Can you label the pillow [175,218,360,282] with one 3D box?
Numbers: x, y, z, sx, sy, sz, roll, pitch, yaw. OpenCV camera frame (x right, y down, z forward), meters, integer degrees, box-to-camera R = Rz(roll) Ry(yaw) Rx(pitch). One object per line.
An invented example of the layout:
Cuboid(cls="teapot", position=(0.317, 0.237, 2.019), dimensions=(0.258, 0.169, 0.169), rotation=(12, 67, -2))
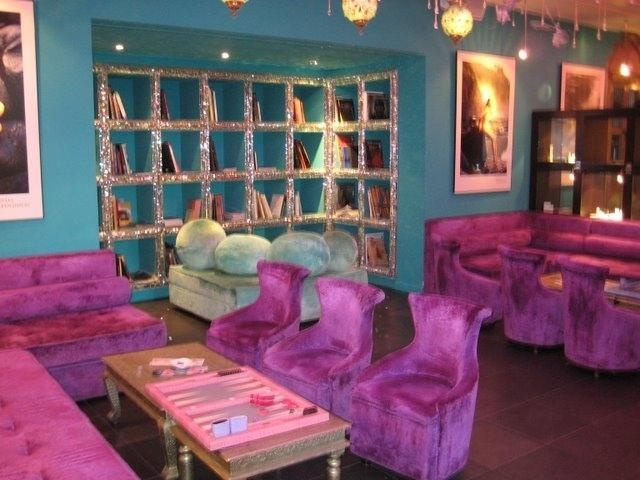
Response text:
Cuboid(cls="pillow", position=(-0.786, 0.106, 6.046), dimensions=(1.655, 0.533, 0.954), rotation=(4, 8, 13))
